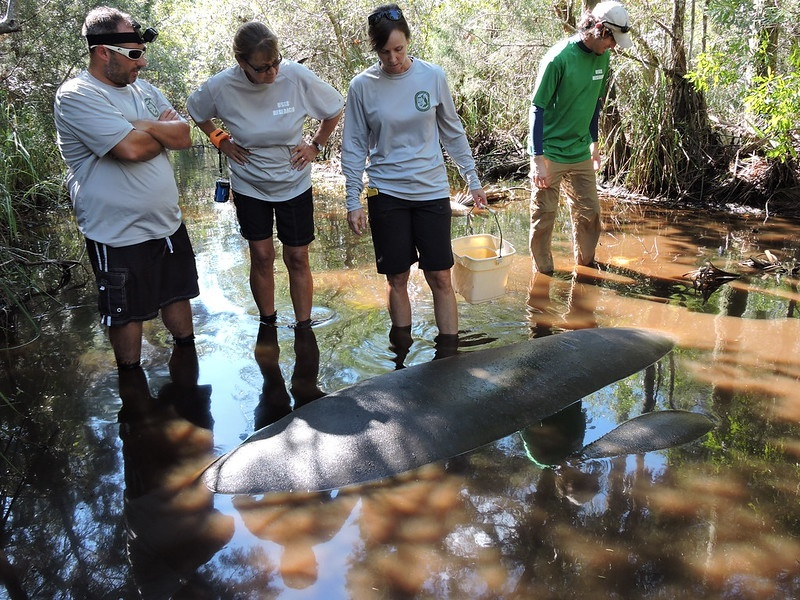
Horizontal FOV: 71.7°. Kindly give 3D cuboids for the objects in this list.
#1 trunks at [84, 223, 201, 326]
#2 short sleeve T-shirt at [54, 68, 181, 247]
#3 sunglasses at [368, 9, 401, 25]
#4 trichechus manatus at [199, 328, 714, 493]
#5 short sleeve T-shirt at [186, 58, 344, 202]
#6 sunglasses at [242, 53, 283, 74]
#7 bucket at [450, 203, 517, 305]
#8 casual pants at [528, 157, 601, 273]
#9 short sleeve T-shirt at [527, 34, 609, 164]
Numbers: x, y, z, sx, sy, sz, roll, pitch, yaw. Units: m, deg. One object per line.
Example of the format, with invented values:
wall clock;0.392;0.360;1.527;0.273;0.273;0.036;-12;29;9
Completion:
trunks;-1.786;-0.160;3.875;0.451;0.733;0.771;1;11;27
short sleeve T-shirt;-1.845;-0.981;3.798;0.690;1.071;0.824;5;22;11
sunglasses;-0.087;-1.783;3.484;0.215;0.110;0.132;-3;12;-4
trichechus manatus;0.234;0.692;3.292;1.986;0.296;1.146;-12;16;-25
short sleeve T-shirt;-0.999;-1.273;4.206;1.167;0.990;0.445;-8;38;-15
sunglasses;-0.909;-1.594;3.736;0.243;0.125;0.101;-10;14;-33
bucket;0.630;-0.356;4.386;0.497;0.723;0.476;0;17;0
casual pants;1.659;-0.849;5.488;0.661;0.365;1.452;-2;50;21
short sleeve T-shirt;1.515;-1.768;4.999;0.677;1.056;0.433;-1;11;3
